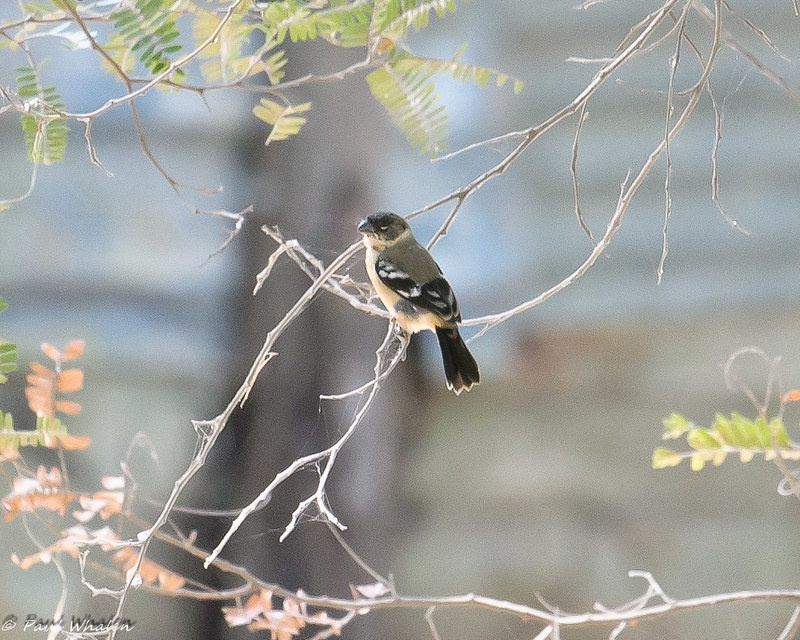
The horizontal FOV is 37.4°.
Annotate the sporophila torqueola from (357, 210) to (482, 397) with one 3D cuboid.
[{"bbox_3d":[0.092,-0.087,5.450,0.299,0.847,0.478,-23,-30,-43],"label":"sporophila torqueola"}]
